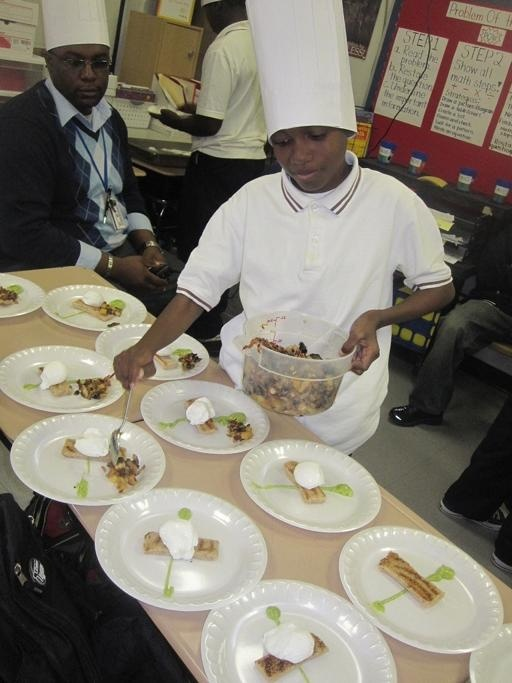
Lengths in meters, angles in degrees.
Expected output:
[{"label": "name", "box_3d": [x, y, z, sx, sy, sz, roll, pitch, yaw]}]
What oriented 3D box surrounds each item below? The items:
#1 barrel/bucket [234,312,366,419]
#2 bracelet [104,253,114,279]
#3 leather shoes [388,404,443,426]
[{"label": "barrel/bucket", "box_3d": [0.071, 0.061, 1.204, 0.295, 0.171, 0.225, 6, 28, 0]}, {"label": "bracelet", "box_3d": [-0.646, -0.340, 2.339, 0.049, 0.080, 0.081, 14, -21, -12]}, {"label": "leather shoes", "box_3d": [0.975, 0.468, 3.314, 0.337, 0.118, 0.125, 2, 20, -16]}]
